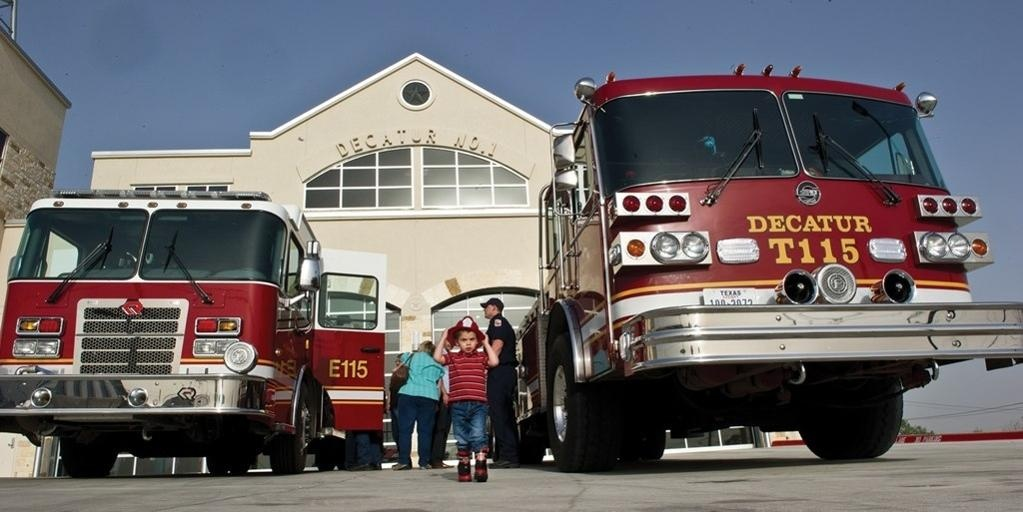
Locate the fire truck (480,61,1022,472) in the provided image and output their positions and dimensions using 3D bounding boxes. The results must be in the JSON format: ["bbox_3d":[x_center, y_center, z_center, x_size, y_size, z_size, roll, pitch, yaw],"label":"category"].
[{"bbox_3d":[3.557,0.204,11.713,6.020,5.983,2.884,-1,-13,0],"label":"fire truck"}]

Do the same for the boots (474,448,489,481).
[{"bbox_3d":[-0.463,3.006,11.296,0.229,0.417,0.596,3,-12,-3],"label":"boots"}]

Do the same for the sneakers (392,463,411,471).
[{"bbox_3d":[-2.118,4.196,15.342,0.476,0.179,0.166,3,-13,3],"label":"sneakers"}]

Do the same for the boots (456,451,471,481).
[{"bbox_3d":[-0.690,3.053,11.215,0.197,0.441,0.165,-1,-13,0],"label":"boots"}]

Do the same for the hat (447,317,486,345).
[{"bbox_3d":[-0.698,1.094,11.902,0.577,0.246,0.650,3,-23,1],"label":"hat"}]

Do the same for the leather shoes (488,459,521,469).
[{"bbox_3d":[-0.153,3.616,13.333,0.560,0.183,0.203,3,-10,7],"label":"leather shoes"}]
